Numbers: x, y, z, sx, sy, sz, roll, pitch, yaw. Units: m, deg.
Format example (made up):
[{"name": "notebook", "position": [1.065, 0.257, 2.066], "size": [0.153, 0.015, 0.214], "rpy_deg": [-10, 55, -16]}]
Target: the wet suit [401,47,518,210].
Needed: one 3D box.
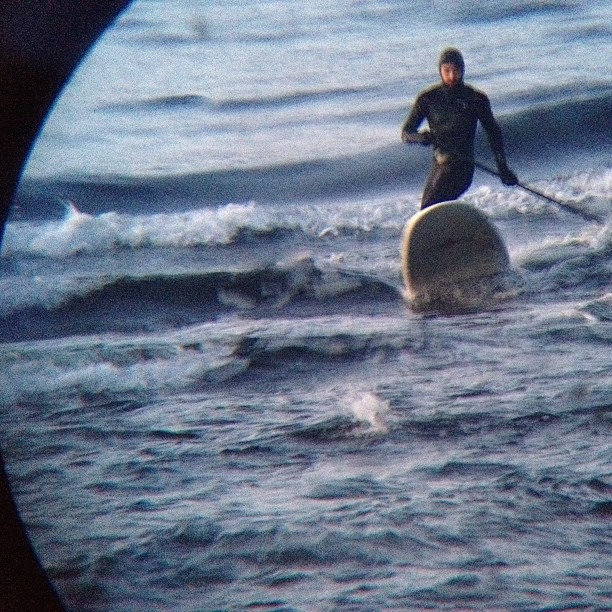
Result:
[{"name": "wet suit", "position": [1.188, -1.423, 10.839], "size": [0.855, 1.140, 0.720], "rpy_deg": [-5, -11, 9]}]

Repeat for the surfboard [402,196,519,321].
[{"name": "surfboard", "position": [1.233, -0.208, 11.576], "size": [0.945, 0.321, 1.237], "rpy_deg": [-9, -37, -4]}]
